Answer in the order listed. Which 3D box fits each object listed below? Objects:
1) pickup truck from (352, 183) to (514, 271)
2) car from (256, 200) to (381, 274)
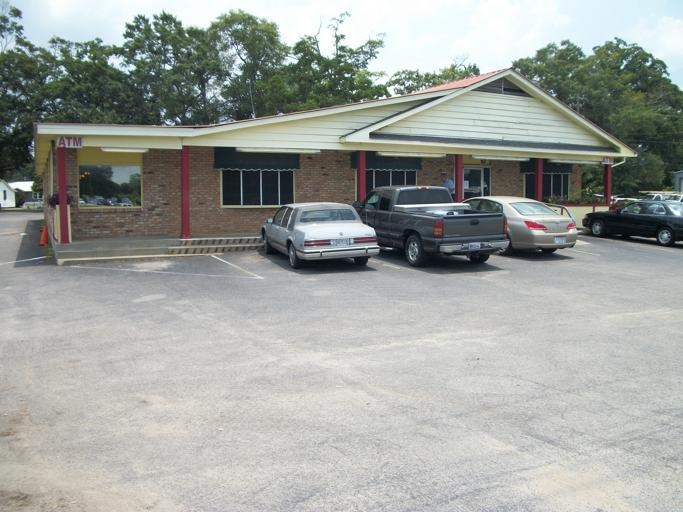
[{"bbox_3d":[2.456,-0.960,16.231,3.091,2.253,4.620,-3,10,-17],"label":"pickup truck"},{"bbox_3d":[-0.784,-0.637,15.440,1.959,1.744,3.316,-6,11,-31],"label":"car"}]
